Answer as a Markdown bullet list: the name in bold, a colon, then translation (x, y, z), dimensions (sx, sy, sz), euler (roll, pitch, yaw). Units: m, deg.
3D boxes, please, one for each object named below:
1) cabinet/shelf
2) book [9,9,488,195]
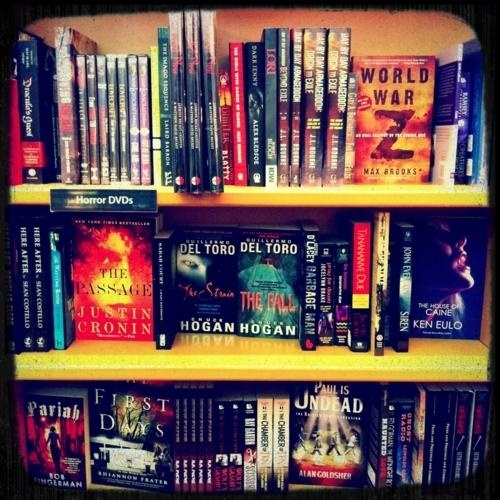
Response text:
- **cabinet/shelf**: translation (0.009, 0.088, 1.448), dimensions (1.105, 0.493, 0.181), euler (-1, 4, 3)
- **book**: translation (-0.010, -0.362, 1.458), dimensions (1.090, 0.455, 0.356), euler (-1, 5, 5)
